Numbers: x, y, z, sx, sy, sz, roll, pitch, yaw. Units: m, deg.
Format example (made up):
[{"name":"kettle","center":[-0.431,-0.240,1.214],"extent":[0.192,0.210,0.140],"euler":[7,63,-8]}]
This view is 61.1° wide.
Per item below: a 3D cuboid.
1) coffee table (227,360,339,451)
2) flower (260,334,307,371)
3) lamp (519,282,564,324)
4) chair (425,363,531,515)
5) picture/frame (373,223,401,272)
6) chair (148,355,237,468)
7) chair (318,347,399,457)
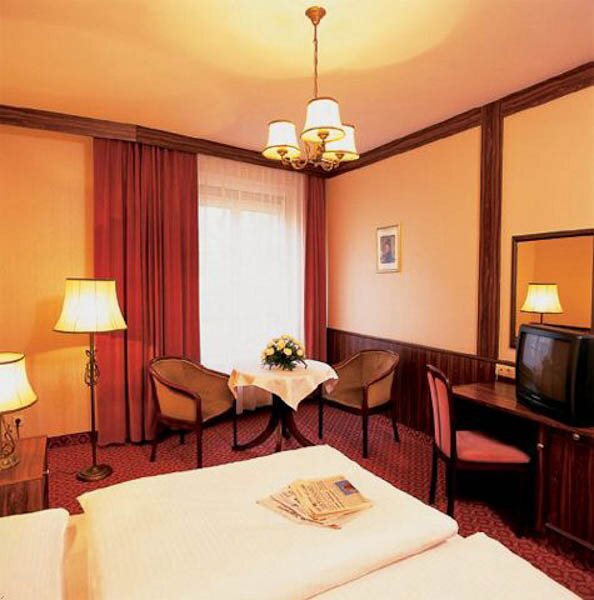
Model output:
[{"name":"coffee table","center":[-0.139,0.958,4.536],"extent":[0.875,0.827,0.961],"euler":[0,7,-9]},{"name":"flower","center":[-0.093,0.450,4.371],"extent":[0.281,0.291,0.304],"euler":[1,3,31]},{"name":"lamp","center":[1.762,0.014,3.656],"extent":[0.188,0.447,0.224],"euler":[-2,2,7]},{"name":"chair","center":[1.180,0.940,3.352],"extent":[0.521,1.029,0.541],"euler":[-3,5,-13]},{"name":"picture/frame","center":[0.930,-0.521,5.130],"extent":[0.036,0.479,0.390],"euler":[-4,10,-27]},{"name":"chair","center":[-0.905,0.952,4.353],"extent":[0.569,0.930,0.642],"euler":[1,4,28]},{"name":"chair","center":[0.601,0.905,4.702],"extent":[0.584,0.944,0.645],"euler":[1,1,-34]}]
